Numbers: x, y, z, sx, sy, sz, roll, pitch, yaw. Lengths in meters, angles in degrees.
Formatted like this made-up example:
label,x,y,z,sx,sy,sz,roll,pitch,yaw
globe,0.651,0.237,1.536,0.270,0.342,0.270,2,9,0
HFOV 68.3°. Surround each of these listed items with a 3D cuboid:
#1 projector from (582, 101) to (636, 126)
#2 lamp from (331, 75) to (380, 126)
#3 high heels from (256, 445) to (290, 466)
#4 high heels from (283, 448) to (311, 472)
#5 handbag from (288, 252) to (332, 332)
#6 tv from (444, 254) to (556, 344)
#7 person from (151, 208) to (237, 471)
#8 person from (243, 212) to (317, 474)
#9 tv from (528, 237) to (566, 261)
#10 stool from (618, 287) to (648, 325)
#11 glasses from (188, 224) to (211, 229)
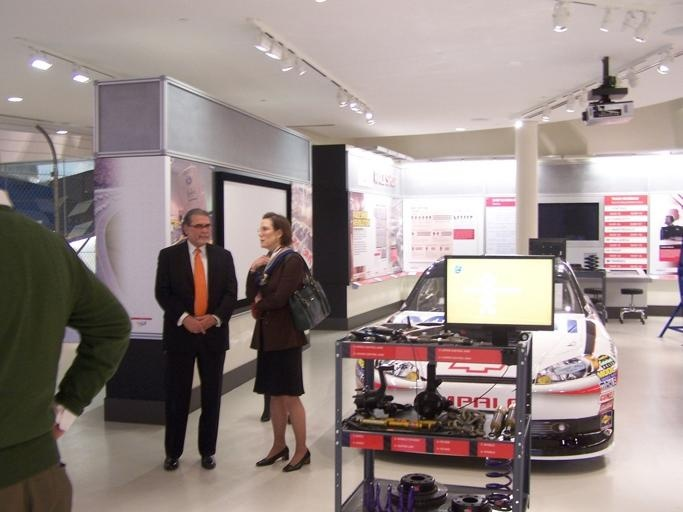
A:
label,x,y,z,sx,sy,sz,roll,pitch,yaw
projector,3.647,-1.948,6.888,0.416,0.149,0.410,1,3,6
lamp,0.192,-2.544,8.457,0.249,0.416,1.992,-22,-2,17
high heels,-0.538,1.637,4.149,0.315,0.130,0.102,-3,3,-27
high heels,-0.335,1.647,4.056,0.088,0.115,0.265,-1,-6,42
handbag,-0.241,0.329,3.997,0.222,0.531,0.369,1,3,18
tv,0.915,0.247,2.918,0.507,0.417,0.163,0,-8,8
person,-1.156,0.658,4.065,0.635,2.065,0.328,-1,3,-19
person,-0.486,0.673,4.024,0.492,2.031,0.434,-1,3,-15
tv,2.786,-0.099,6.784,0.360,0.249,0.182,2,-5,7
stool,6.048,0.998,10.438,0.463,0.659,0.948,1,3,30
glasses,-1.129,-0.237,4.034,0.151,0.038,0.046,-3,4,-37
